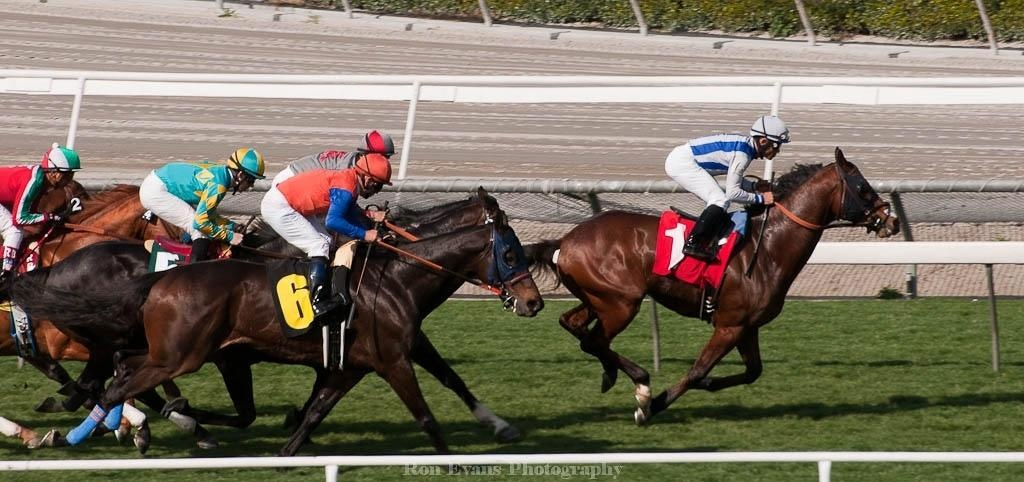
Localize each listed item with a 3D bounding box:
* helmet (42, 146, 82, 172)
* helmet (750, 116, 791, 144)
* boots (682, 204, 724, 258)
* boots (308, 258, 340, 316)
[{"bbox_3d":[-4.707,-0.868,10.564,0.314,0.282,0.241,4,6,29],"label":"helmet"},{"bbox_3d":[2.620,-1.140,10.389,0.517,0.168,0.292,0,21,-4],"label":"helmet"},{"bbox_3d":[1.980,-0.091,10.275,0.452,0.563,0.192,-4,8,-41],"label":"boots"},{"bbox_3d":[-1.785,0.434,9.533,0.318,0.514,0.294,-5,2,-8],"label":"boots"}]
